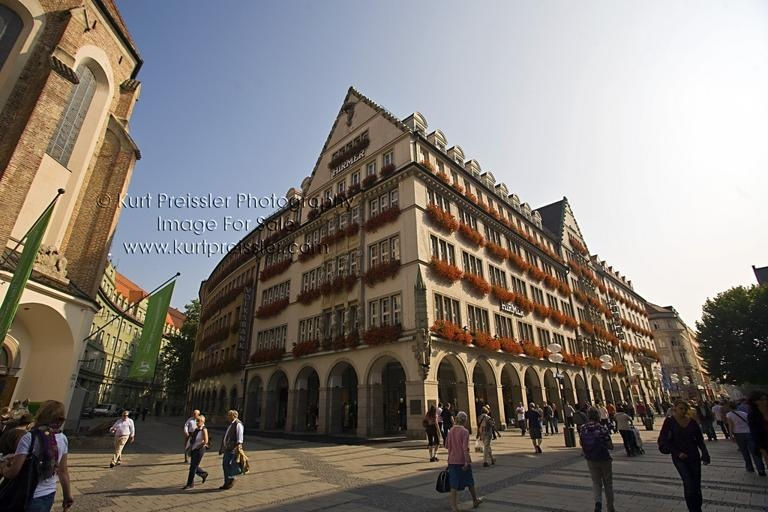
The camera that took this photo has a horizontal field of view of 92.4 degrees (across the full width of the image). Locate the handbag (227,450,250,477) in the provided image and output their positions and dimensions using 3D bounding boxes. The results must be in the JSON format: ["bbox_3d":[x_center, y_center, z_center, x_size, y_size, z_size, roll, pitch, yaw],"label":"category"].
[{"bbox_3d":[-4.955,7.122,12.620,0.480,0.825,0.613,18,-31,-37],"label":"handbag"}]

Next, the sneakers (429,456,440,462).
[{"bbox_3d":[2.236,9.128,16.429,0.188,0.225,0.515,14,-34,-7],"label":"sneakers"}]

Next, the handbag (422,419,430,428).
[{"bbox_3d":[1.950,7.917,17.356,0.322,0.600,0.321,2,-9,-4],"label":"handbag"}]

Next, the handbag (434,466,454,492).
[{"bbox_3d":[1.638,6.404,10.479,0.328,0.572,0.532,13,-28,-30],"label":"handbag"}]

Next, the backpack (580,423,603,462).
[{"bbox_3d":[5.732,5.131,10.111,0.621,0.958,0.373,-13,-26,23],"label":"backpack"}]
